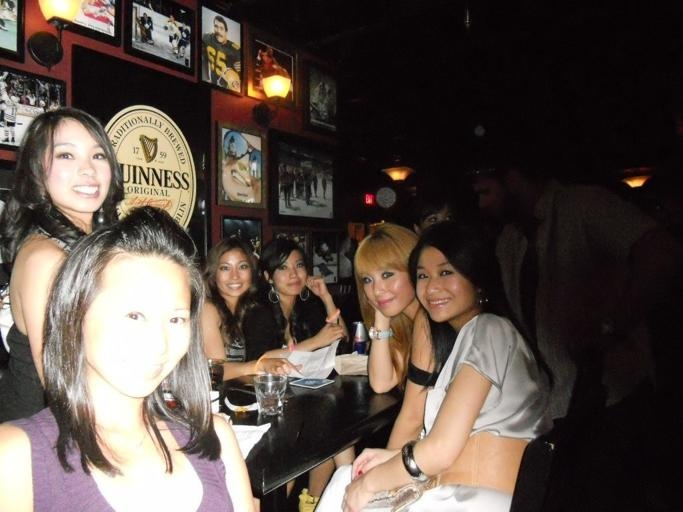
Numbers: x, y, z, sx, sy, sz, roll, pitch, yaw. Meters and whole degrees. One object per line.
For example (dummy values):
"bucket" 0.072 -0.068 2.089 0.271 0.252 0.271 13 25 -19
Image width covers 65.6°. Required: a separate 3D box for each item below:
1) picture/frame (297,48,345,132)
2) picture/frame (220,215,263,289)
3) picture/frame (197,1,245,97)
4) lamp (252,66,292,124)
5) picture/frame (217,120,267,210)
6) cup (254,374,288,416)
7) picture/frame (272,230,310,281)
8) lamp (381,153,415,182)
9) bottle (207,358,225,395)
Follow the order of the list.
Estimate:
"picture/frame" -0.206 -1.585 5.239 0.062 0.647 0.659 3 10 24
"picture/frame" -0.713 -0.031 3.712 0.024 0.668 0.551 -2 -3 30
"picture/frame" -0.931 -1.603 4.126 0.021 0.474 0.437 2 0 32
"lamp" -0.598 -1.315 4.487 0.223 0.450 0.291 -8 24 -33
"picture/frame" -0.829 -0.747 4.307 0.033 0.894 0.754 -3 -4 29
"cup" -0.285 0.548 2.114 0.136 0.158 0.142 1 -9 0
"picture/frame" -0.425 -0.096 4.795 0.287 0.346 0.026 1 -36 -11
"lamp" 0.772 -1.220 7.203 0.317 0.361 0.320 5 -10 -24
"bottle" -0.549 0.531 2.318 0.112 0.146 0.107 -1 -13 0
